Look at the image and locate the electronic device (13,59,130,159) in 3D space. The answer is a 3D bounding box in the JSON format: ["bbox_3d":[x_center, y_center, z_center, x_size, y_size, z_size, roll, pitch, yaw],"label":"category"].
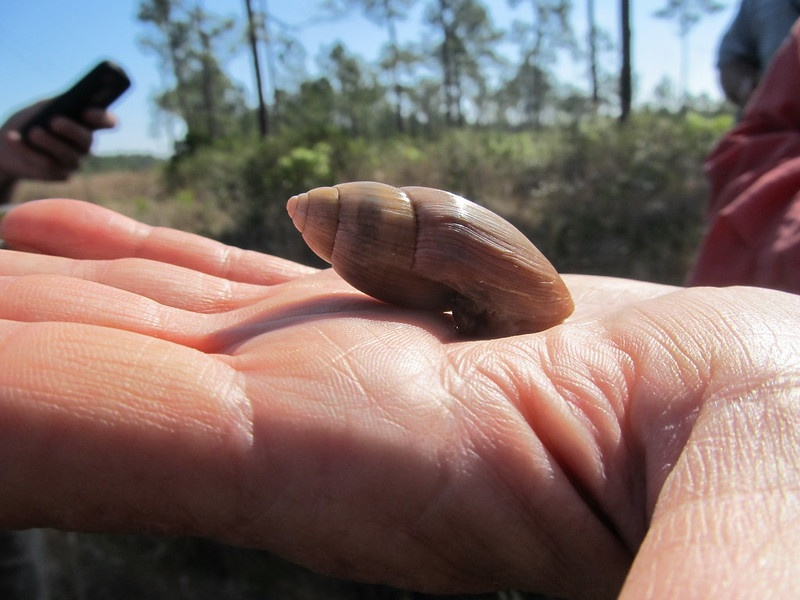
[{"bbox_3d":[-1.144,-0.699,2.495,0.472,0.256,0.161,11,13,34],"label":"electronic device"}]
